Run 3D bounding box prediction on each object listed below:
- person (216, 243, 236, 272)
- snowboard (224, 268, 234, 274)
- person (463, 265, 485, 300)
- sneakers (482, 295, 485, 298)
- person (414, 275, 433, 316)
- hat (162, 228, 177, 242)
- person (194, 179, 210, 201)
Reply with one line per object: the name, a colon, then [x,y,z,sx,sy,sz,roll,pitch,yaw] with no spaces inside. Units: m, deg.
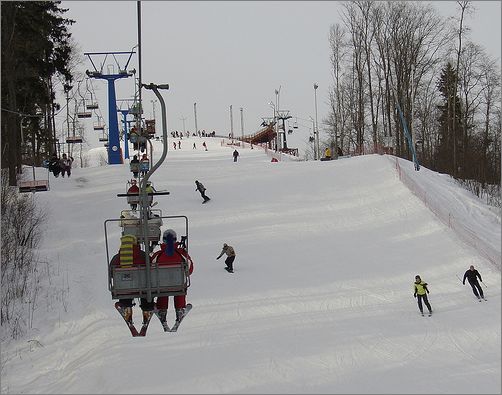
person: [-1.285,3.336,38.056,0.706,1.671,1.884,-4,6,0]
snowboard: [-1.241,4.086,37.701,0.531,0.438,0.184,0,6,45]
person: [11.766,4.377,34.900,1.020,1.765,0.994,-4,6,-6]
sneakers: [12.041,5.111,34.581,0.069,0.142,0.128,2,-12,8]
person: [8.853,4.867,34.327,0.847,2.008,1.453,-2,6,15]
hat: [-3.318,1.551,27.176,0.590,0.455,0.542,-3,6,12]
person: [-3.561,-0.523,49.558,0.891,1.581,3.121,-4,6,-5]
